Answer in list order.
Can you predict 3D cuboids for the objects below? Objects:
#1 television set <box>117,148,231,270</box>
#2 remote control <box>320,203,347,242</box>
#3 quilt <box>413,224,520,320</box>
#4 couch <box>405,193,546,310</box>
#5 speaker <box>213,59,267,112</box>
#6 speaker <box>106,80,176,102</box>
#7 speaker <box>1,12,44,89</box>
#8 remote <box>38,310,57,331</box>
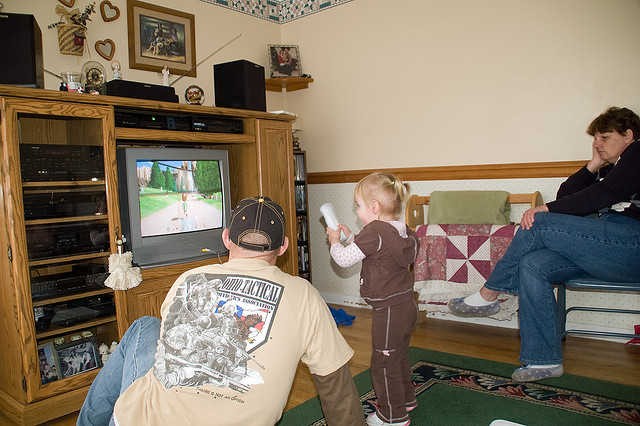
[{"bbox_3d":[-1.087,-0.080,3.643,1.008,0.948,0.542,-3,2,19],"label":"television set"},{"bbox_3d":[0.093,0.028,2.828,0.151,0.191,0.370,-3,11,0],"label":"remote control"},{"bbox_3d":[1.520,0.483,3.868,0.858,0.884,1.005,-7,1,-41],"label":"quilt"},{"bbox_3d":[1.393,0.322,3.814,1.114,1.046,0.647,0,9,37],"label":"couch"},{"bbox_3d":[-0.774,-1.216,4.113,0.473,0.470,0.469,-4,10,-24],"label":"speaker"},{"bbox_3d":[-1.379,-0.960,3.281,0.515,0.165,0.312,-8,12,-24],"label":"speaker"},{"bbox_3d":[-2.024,-1.094,2.815,0.189,0.491,0.169,-4,11,-6],"label":"speaker"},{"bbox_3d":[-1.843,0.716,2.827,0.062,0.101,0.105,7,-4,-9],"label":"remote"}]
